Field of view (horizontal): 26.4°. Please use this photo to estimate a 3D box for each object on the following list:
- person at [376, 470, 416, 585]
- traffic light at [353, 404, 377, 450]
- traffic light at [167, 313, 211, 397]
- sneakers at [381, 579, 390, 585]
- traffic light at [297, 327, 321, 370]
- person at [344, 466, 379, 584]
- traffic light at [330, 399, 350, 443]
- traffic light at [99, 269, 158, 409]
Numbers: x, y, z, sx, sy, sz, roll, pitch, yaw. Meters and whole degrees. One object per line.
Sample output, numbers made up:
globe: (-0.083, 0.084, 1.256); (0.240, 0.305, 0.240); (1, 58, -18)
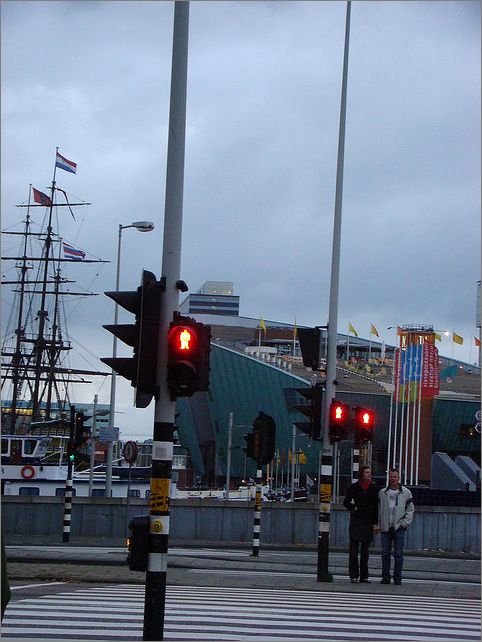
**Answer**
person: (2.217, 2.982, 14.772); (0.488, 1.614, 0.541); (0, -7, 12)
traffic light: (2.108, 1.836, 17.583); (0.333, 0.709, 0.575); (0, -7, 6)
traffic light: (-0.449, 0.333, 8.828); (0.349, 0.670, 0.266); (2, -7, -7)
sneakers: (2.047, 3.724, 14.584); (0.076, 0.075, 0.131); (3, -5, 3)
traffic light: (1.060, 0.402, 15.786); (0.336, 0.713, 1.164); (1, -7, 4)
person: (1.791, 3.033, 15.263); (0.499, 1.705, 1.313); (0, -7, 7)
traffic light: (1.485, 1.534, 15.503); (0.246, 0.645, 0.537); (-2, -7, 23)
traffic light: (-0.942, 0.213, 9.042); (0.495, 1.183, 0.421); (2, -15, -10)
